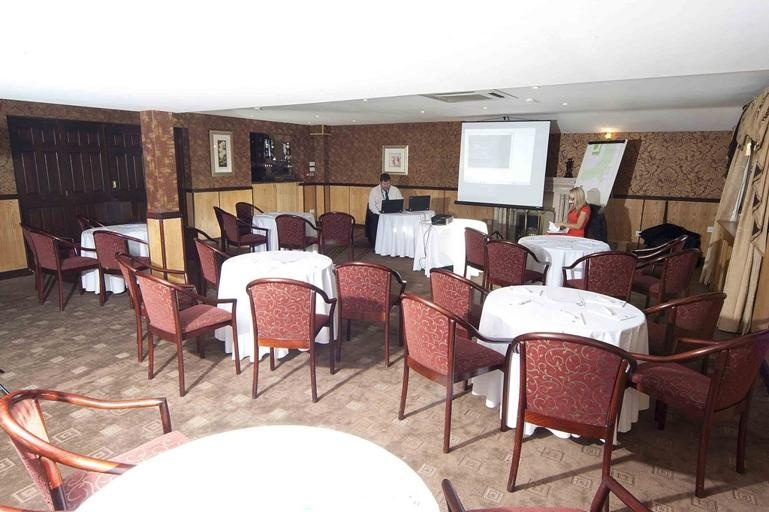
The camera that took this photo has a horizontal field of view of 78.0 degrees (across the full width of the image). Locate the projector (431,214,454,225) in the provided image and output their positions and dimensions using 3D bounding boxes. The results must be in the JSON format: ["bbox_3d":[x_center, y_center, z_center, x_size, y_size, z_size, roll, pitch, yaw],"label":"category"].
[{"bbox_3d":[0.914,-0.586,7.591,0.333,0.123,0.259,-17,25,-42],"label":"projector"}]

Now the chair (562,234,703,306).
[{"bbox_3d":[2.949,0.170,5.654,0.870,1.091,0.801,-7,28,-11],"label":"chair"}]

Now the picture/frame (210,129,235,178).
[{"bbox_3d":[-3.532,-2.263,10.348,0.128,0.914,0.622,15,25,34],"label":"picture/frame"}]

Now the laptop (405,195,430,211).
[{"bbox_3d":[0.590,-0.993,8.857,0.469,0.286,0.298,-2,10,-24],"label":"laptop"}]

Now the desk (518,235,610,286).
[{"bbox_3d":[2.355,-0.100,6.279,0.895,0.460,0.854,6,14,23],"label":"desk"}]

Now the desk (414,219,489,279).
[{"bbox_3d":[1.088,-0.182,7.706,1.116,0.645,1.043,-7,13,-28],"label":"desk"}]

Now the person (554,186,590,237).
[{"bbox_3d":[2.846,-0.658,7.171,0.417,0.784,1.117,9,20,21],"label":"person"}]

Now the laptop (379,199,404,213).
[{"bbox_3d":[0.132,-0.910,8.614,0.383,0.234,0.231,-1,12,-22],"label":"laptop"}]

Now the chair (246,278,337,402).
[{"bbox_3d":[-0.850,0.649,4.472,0.718,1.126,0.841,1,20,2],"label":"chair"}]

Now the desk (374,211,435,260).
[{"bbox_3d":[0.274,-0.406,8.670,1.024,0.567,0.940,0,10,-6],"label":"desk"}]
